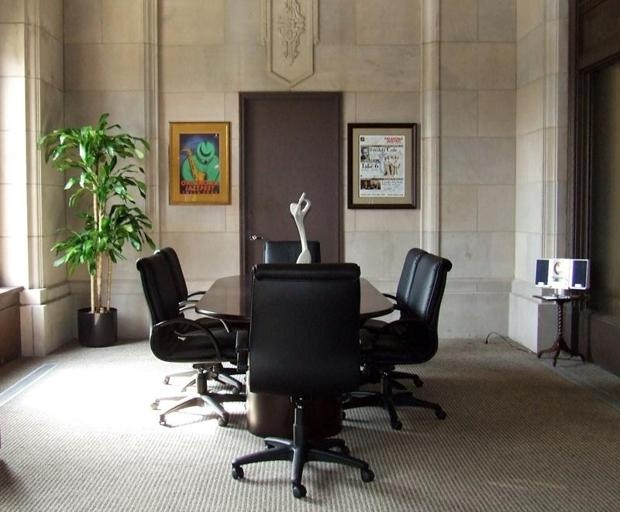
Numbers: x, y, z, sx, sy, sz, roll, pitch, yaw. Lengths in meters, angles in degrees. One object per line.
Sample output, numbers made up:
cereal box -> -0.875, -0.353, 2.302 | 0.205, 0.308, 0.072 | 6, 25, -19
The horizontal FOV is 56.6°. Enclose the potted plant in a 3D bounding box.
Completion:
potted plant -> -1.992, -0.230, 5.610 | 0.895, 2.278, 0.975 | -7, -9, 31

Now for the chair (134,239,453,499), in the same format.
chair -> -0.160, 0.444, 3.232 | 1.371, 0.888, 1.409 | 0, 0, -12

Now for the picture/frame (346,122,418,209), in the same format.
picture/frame -> 0.725, -0.960, 5.874 | 0.685, 1.006, 0.046 | 0, 5, -5

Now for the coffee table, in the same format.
coffee table -> 2.198, 0.609, 5.102 | 0.351, 0.595, 0.534 | -1, 9, -5
